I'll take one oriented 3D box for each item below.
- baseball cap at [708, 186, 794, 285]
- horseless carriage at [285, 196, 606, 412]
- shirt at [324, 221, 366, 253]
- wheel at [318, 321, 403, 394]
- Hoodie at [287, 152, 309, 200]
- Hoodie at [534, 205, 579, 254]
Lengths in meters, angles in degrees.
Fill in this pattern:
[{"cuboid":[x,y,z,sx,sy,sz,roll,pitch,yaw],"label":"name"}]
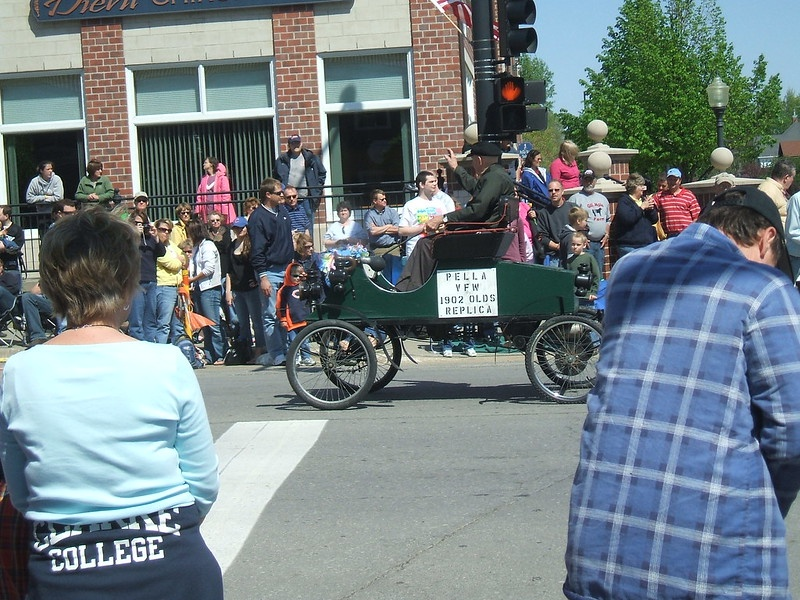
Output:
[{"cuboid":[1.900,-0.326,8.536,0.457,0.545,0.368,0,12,-12],"label":"baseball cap"},{"cuboid":[0.488,0.211,14.730,2.889,1.393,1.559,0,-2,6],"label":"horseless carriage"},{"cuboid":[-0.645,-0.733,18.522,0.547,0.461,0.280,-2,-34,-5],"label":"shirt"},{"cuboid":[-0.388,0.546,14.539,0.744,0.660,0.144,2,5,-8],"label":"wheel"},{"cuboid":[-1.374,-1.673,20.805,0.333,0.374,0.848,0,46,3],"label":"Hoodie"},{"cuboid":[1.825,-0.879,18.609,0.690,0.738,0.510,-2,-10,8],"label":"Hoodie"}]
